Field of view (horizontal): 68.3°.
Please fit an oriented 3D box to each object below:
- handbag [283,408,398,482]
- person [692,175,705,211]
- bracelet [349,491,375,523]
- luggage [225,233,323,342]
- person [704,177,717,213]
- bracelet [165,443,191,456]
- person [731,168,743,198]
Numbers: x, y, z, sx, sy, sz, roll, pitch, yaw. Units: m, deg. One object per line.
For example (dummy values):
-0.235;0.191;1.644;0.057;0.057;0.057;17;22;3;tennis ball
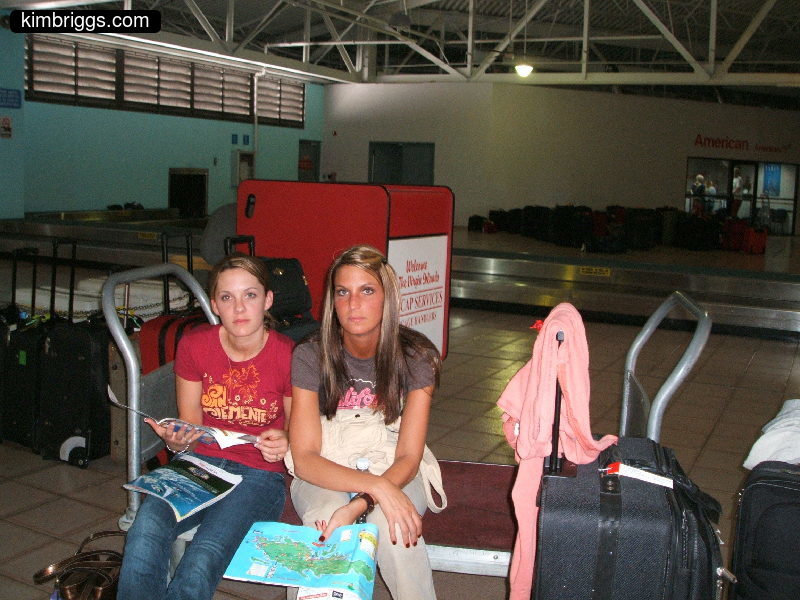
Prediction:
-0.126;0.416;1.702;0.223;0.241;0.100;-6;5;-2;handbag
7.836;-2.852;15.339;0.385;0.849;0.194;-1;7;-11;person
-0.090;0.552;1.579;0.054;0.075;0.026;9;-11;-15;bracelet
-0.678;-0.051;3.097;0.356;0.603;0.385;-3;2;25;luggage
8.202;-2.775;15.440;0.392;0.823;0.189;-6;9;-39;person
-0.697;0.459;1.845;0.073;0.042;0.103;2;-13;1;bracelet
8.820;-3.070;15.363;0.372;0.744;0.122;-3;8;-22;person
